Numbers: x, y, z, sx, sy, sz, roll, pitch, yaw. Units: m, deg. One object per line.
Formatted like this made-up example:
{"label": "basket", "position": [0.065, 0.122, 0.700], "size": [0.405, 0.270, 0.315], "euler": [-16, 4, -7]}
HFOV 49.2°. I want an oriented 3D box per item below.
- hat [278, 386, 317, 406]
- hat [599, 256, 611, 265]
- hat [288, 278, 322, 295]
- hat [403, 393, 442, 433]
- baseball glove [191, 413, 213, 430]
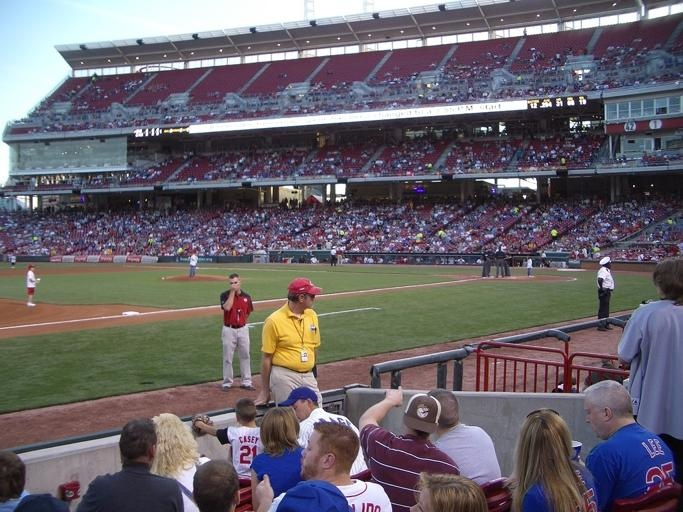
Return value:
{"label": "hat", "position": [-0.543, 1.888, 9.916], "size": [0.419, 0.203, 0.266], "euler": [-2, -14, -3]}
{"label": "hat", "position": [6.944, 0.191, 19.845], "size": [0.271, 0.089, 0.276], "euler": [-28, 6, -42]}
{"label": "hat", "position": [-0.563, 0.492, 11.409], "size": [0.396, 0.227, 0.277], "euler": [3, 5, -11]}
{"label": "hat", "position": [0.951, 1.856, 8.706], "size": [0.342, 0.272, 0.482], "euler": [12, 38, 3]}
{"label": "baseball glove", "position": [-1.946, 2.361, 10.492], "size": [0.288, 0.189, 0.335], "euler": [1, 0, -13]}
